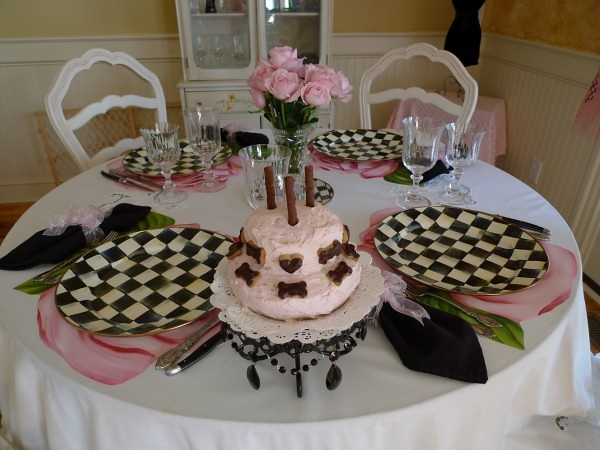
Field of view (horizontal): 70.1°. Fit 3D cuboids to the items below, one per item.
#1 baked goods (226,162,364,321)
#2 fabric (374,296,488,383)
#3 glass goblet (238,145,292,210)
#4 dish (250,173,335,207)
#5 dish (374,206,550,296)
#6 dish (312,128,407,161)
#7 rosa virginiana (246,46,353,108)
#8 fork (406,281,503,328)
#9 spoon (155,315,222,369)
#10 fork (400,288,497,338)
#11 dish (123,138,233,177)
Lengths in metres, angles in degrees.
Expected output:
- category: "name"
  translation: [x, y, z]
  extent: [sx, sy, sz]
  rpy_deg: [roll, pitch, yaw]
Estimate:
- category: "baked goods"
  translation: [-0.014, 0.009, 0.850]
  extent: [0.250, 0.238, 0.265]
  rpy_deg: [-3, 30, -4]
- category: "fabric"
  translation: [0.245, 0.218, 0.814]
  extent: [0.199, 0.048, 0.131]
  rpy_deg: [8, 36, 13]
- category: "glass goblet"
  translation: [-0.080, -0.140, 1.203]
  extent: [0.149, 0.174, 0.157]
  rpy_deg: [-1, 22, -1]
- category: "dish"
  translation: [-0.025, -0.083, 1.039]
  extent: [0.106, 0.016, 0.107]
  rpy_deg: [-16, 29, -31]
- category: "dish"
  translation: [0.393, 0.066, 1.031]
  extent: [0.237, 0.029, 0.250]
  rpy_deg: [0, 36, 2]
- category: "dish"
  translation: [0.220, -0.294, 1.577]
  extent: [0.192, 0.023, 0.202]
  rpy_deg: [-9, 35, -11]
- category: "rosa virginiana"
  translation: [-0.008, -0.399, 1.190]
  extent: [0.210, 0.145, 0.218]
  rpy_deg: [4, 36, -22]
- category: "fork"
  translation: [0.314, 0.167, 0.876]
  extent: [0.130, 0.015, 0.019]
  rpy_deg: [31, 51, 21]
- category: "spoon"
  translation: [-0.213, 0.229, 0.822]
  extent: [0.027, 0.011, 0.211]
  rpy_deg: [20, 29, 20]
- category: "fork"
  translation: [0.295, 0.180, 0.854]
  extent: [0.027, 0.028, 0.217]
  rpy_deg: [-17, 21, -20]
- category: "dish"
  translation: [-0.470, -0.221, 1.501]
  extent: [0.200, 0.025, 0.211]
  rpy_deg: [7, 25, 6]
